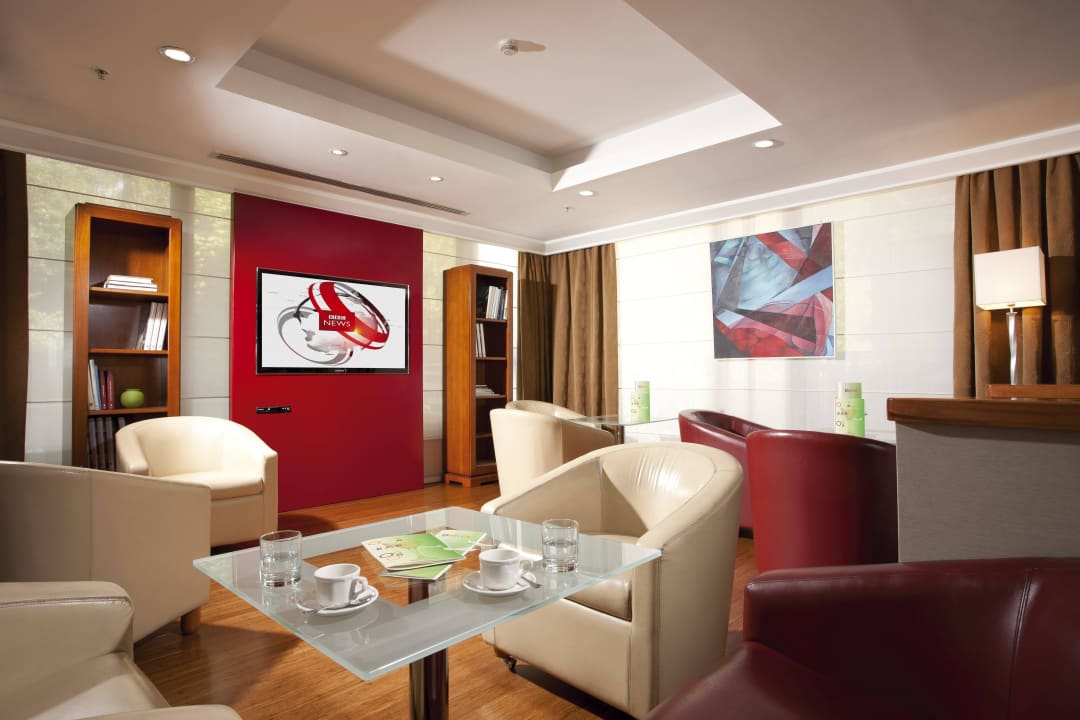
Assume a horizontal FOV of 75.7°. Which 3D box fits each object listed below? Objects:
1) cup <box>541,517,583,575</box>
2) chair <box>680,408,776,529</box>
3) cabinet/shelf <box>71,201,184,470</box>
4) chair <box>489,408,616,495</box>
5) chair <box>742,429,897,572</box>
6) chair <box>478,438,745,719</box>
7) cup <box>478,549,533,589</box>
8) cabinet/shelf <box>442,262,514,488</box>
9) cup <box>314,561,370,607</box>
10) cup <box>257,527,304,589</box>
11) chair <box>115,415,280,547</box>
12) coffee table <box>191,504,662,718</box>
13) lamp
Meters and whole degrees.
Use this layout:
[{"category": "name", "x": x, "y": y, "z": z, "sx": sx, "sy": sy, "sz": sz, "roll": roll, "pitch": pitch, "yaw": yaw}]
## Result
[{"category": "cup", "x": 0.086, "y": 0.728, "z": 2.735, "sx": 0.177, "sy": 0.196, "sz": 0.182, "roll": -1, "pitch": 1, "yaw": 0}, {"category": "chair", "x": 1.288, "y": 0.769, "z": 5.051, "sx": 0.884, "sy": 0.966, "sz": 0.812, "roll": -4, "pitch": -6, "yaw": 24}, {"category": "cabinet/shelf", "x": -2.913, "y": -0.153, "z": 4.916, "sx": 0.687, "sy": 1.425, "sz": 0.241, "roll": -2, "pitch": -1, "yaw": -34}, {"category": "chair", "x": 0.120, "y": 0.560, "z": 5.183, "sx": 0.748, "sy": 0.840, "sz": 0.665, "roll": -3, "pitch": 2, "yaw": -30}, {"category": "chair", "x": 1.369, "y": 0.664, "z": 3.580, "sx": 0.752, "sy": 0.812, "sz": 0.647, "roll": -2, "pitch": -2, "yaw": -40}, {"category": "chair", "x": 0.506, "y": 1.039, "z": 3.480, "sx": 1.170, "sy": 1.154, "sz": 1.236, "roll": 0, "pitch": 0, "yaw": -42}, {"category": "cup", "x": -0.145, "y": 0.805, "z": 2.660, "sx": 0.146, "sy": 0.102, "sz": 0.116, "roll": -1, "pitch": -2, "yaw": 17}, {"category": "cabinet/shelf", "x": -0.576, "y": 0.200, "z": 6.981, "sx": 0.445, "sy": 2.121, "sz": 0.688, "roll": 3, "pitch": 4, "yaw": 39}, {"category": "cup", "x": -0.726, "y": 0.836, "z": 2.554, "sx": 0.155, "sy": 0.100, "sz": 0.126, "roll": 2, "pitch": -6, "yaw": -4}, {"category": "cup", "x": -0.989, "y": 0.770, "z": 2.740, "sx": 0.203, "sy": 0.217, "sz": 0.194, "roll": 0, "pitch": 1, "yaw": 0}, {"category": "chair", "x": -2.218, "y": 0.731, "z": 4.713, "sx": 0.937, "sy": 1.033, "sz": 0.966, "roll": -8, "pitch": -9, "yaw": 41}, {"category": "coffee table", "x": -0.524, "y": 0.698, "z": 2.722, "sx": 1.172, "sy": 0.742, "sz": 1.183, "roll": -1, "pitch": 0, "yaw": 42}, {"category": "lamp", "x": 3.273, "y": -0.293, "z": 4.825, "sx": 0.424, "sy": 1.062, "sz": 0.356, "roll": -2, "pitch": -1, "yaw": 32}]
